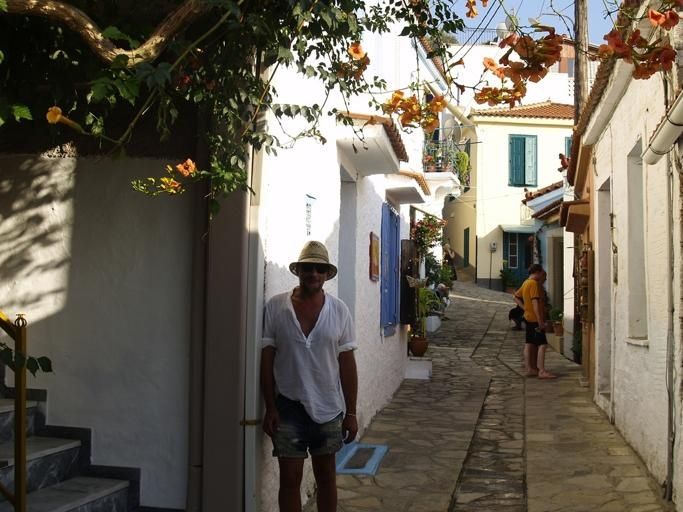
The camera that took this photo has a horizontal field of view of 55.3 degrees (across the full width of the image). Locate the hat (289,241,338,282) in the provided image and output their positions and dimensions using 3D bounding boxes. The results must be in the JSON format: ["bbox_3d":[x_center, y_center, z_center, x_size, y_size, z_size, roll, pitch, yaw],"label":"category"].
[{"bbox_3d":[-0.207,0.006,5.208,0.273,0.193,0.357,7,-27,0],"label":"hat"}]

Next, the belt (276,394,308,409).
[{"bbox_3d":[-0.401,1.077,4.855,0.101,0.090,0.106,-2,-6,34],"label":"belt"}]

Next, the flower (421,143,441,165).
[{"bbox_3d":[2.312,-2.750,17.263,0.367,0.578,0.784,-3,0,45],"label":"flower"}]

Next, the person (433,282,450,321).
[{"bbox_3d":[3.164,1.410,20.612,0.786,1.159,0.381,6,-7,-42],"label":"person"}]

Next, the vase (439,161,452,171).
[{"bbox_3d":[2.754,-2.438,17.518,0.292,0.306,0.268,7,-8,-38],"label":"vase"}]

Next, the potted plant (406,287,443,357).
[{"bbox_3d":[1.862,1.372,14.560,0.722,1.595,0.945,5,-5,23],"label":"potted plant"}]

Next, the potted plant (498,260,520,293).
[{"bbox_3d":[6.981,0.879,27.374,1.012,1.537,1.031,3,-1,-8],"label":"potted plant"}]

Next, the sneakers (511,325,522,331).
[{"bbox_3d":[5.009,2.083,18.835,0.340,0.239,0.119,3,0,-3],"label":"sneakers"}]

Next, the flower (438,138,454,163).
[{"bbox_3d":[2.845,-2.926,17.828,0.283,0.761,0.513,2,7,6],"label":"flower"}]

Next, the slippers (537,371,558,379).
[{"bbox_3d":[3.558,2.069,11.284,0.373,0.180,0.134,-3,-2,3],"label":"slippers"}]
